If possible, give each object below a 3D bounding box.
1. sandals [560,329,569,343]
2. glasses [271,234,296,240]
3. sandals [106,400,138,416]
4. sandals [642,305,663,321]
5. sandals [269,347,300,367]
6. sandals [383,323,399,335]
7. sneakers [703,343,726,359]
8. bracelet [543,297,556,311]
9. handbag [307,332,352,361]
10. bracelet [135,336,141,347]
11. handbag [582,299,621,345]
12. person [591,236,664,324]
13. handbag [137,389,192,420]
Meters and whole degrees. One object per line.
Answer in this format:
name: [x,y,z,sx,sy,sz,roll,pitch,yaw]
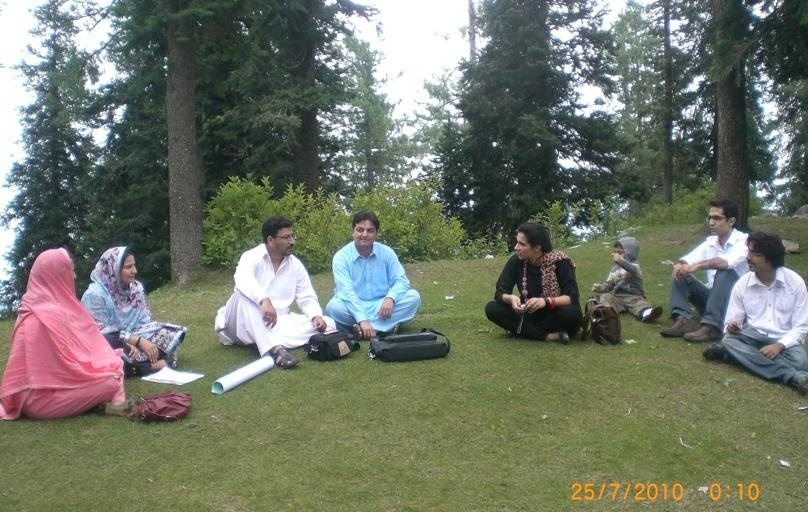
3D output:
sandals: [2.741,1.354,13.463,0.146,0.184,0.200,-4,-23,23]
glasses: [-1.985,-0.328,13.428,0.370,0.127,0.167,-2,-1,-43]
sandals: [-4.305,2.313,12.074,0.323,0.115,0.252,-3,-3,9]
sandals: [4.475,1.039,14.182,0.186,0.190,0.466,11,-30,-21]
sandals: [-1.966,1.672,13.048,0.493,0.183,0.260,11,22,39]
sandals: [-0.200,1.244,13.867,0.213,0.061,0.202,-31,1,-5]
sneakers: [5.062,1.549,12.877,0.337,0.113,0.202,-4,-2,-21]
bracelet: [2.471,0.793,13.380,0.172,0.105,0.206,0,-42,9]
handbag: [-1.271,1.499,13.232,0.510,0.338,0.669,-2,-3,17]
bracelet: [-4.282,1.369,12.845,0.102,0.118,0.125,11,-23,-6]
handbag: [3.425,1.135,13.655,0.656,0.685,0.669,-5,9,-1]
person: [4.117,0.386,14.416,1.125,1.392,1.515,4,4,-15]
handbag: [-3.655,2.272,12.020,0.534,0.155,0.463,-2,10,-24]
